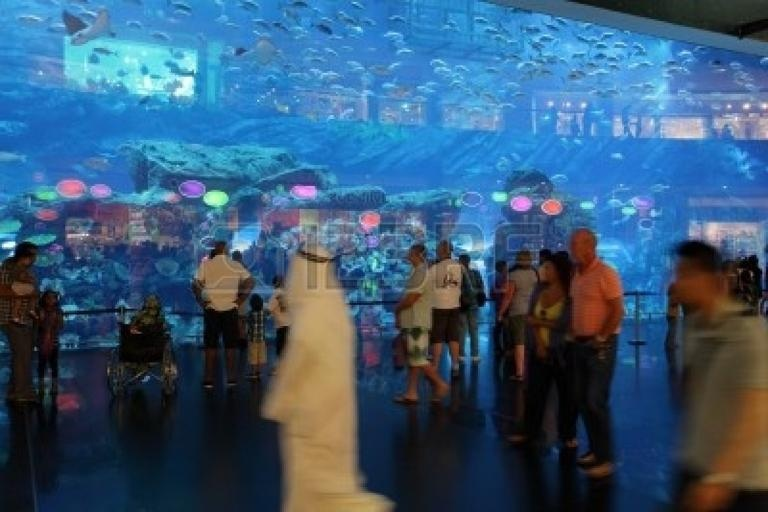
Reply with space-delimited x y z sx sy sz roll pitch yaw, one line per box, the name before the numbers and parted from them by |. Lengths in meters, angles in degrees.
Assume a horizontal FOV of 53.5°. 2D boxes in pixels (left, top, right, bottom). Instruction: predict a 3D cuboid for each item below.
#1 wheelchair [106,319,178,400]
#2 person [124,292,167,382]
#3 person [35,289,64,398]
wheelchair | -4.014 1.883 13.936 1.403 1.550 1.385 2 1 -26
person | -4.136 1.441 13.427 0.788 1.426 0.451 0 3 -16
person | -5.927 1.542 13.716 0.426 1.831 0.757 0 3 -21
